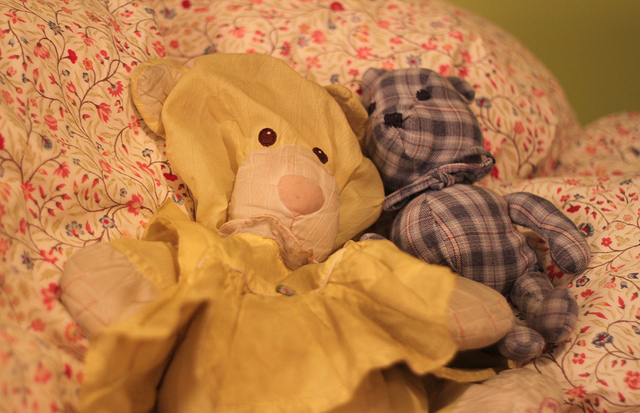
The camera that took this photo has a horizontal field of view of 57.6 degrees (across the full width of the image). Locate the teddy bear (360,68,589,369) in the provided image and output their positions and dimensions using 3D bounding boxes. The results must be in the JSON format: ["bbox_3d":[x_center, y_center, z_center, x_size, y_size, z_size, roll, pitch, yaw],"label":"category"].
[{"bbox_3d":[0.406,0.044,1.611,0.495,0.448,0.777,-33,91,-14],"label":"teddy bear"}]
